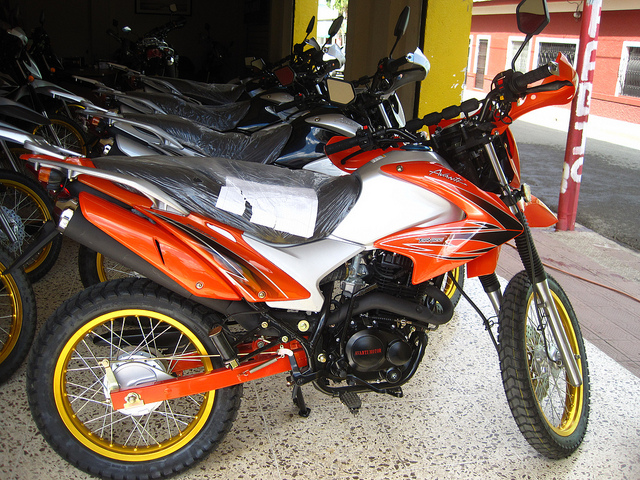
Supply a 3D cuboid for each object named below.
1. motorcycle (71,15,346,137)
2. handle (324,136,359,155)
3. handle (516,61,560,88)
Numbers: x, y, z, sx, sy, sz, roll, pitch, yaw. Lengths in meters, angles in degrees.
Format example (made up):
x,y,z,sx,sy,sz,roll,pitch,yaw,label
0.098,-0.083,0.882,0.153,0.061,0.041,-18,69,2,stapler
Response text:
x,y,z,sx,sy,sz,roll,pitch,yaw,label
-0.641,-1.296,3.392,1.923,0.981,0.851,-1,30,-7,motorcycle
0.078,-0.364,1.732,0.175,0.042,0.047,-17,12,-6,handle
0.798,-0.606,1.711,0.171,0.077,0.067,-22,8,24,handle
